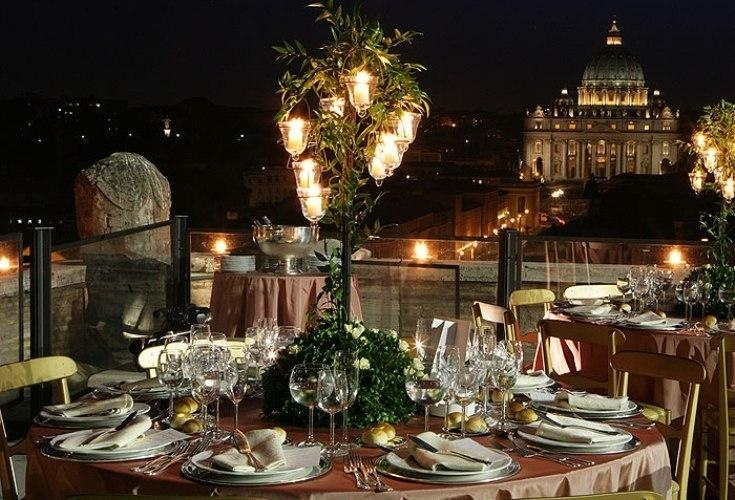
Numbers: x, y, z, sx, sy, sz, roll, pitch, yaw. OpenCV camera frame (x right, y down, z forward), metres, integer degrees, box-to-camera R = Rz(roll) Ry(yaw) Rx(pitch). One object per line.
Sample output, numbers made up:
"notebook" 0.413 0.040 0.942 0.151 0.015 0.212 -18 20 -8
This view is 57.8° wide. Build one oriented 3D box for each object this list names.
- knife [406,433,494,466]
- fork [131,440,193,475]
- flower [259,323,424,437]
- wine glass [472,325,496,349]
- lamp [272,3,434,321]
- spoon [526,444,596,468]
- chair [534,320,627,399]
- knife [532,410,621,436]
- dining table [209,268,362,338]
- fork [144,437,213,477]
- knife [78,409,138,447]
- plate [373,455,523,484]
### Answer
"knife" 0.266 0.666 2.216 0.090 0.018 0.312 -3 9 -29
"fork" -0.697 0.713 2.260 0.053 0.044 0.302 10 16 13
"flower" -0.084 0.440 2.633 0.433 0.321 0.475 -2 -1 -5
"wine glass" 0.505 0.354 2.722 0.103 0.125 0.074 2 -4 -11
"lamp" -0.056 -0.443 2.990 0.691 1.501 0.789 -2 3 -8
"spoon" 0.683 0.720 2.304 0.067 0.014 0.257 -14 15 -37
"chair" 1.324 0.653 4.010 0.413 0.634 0.411 10 22 40
"knife" 0.820 0.667 2.558 0.049 0.041 0.266 -5 2 -34
"dining table" -0.996 0.454 6.137 0.857 0.455 0.841 1 -1 25
"fork" -0.641 0.692 2.323 0.054 0.044 0.377 15 11 18
"knife" -0.960 0.655 2.436 0.191 0.021 0.028 -19 -25 -31
"plate" 0.267 0.712 2.180 0.484 0.059 0.159 -1 3 3
